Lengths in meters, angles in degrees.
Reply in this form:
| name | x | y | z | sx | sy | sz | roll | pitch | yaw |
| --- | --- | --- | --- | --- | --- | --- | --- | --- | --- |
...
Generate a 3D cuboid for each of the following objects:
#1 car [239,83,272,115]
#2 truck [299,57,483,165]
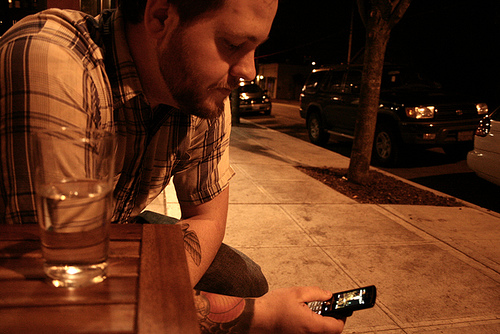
| name | x | y | z | sx | sy | sz | roll | pitch | yaw |
| --- | --- | --- | --- | --- | --- | --- | --- | --- | --- |
| car | 0.219 | -3.659 | 18.898 | 1.290 | 1.018 | 2.094 | -3 | 8 | -9 |
| truck | 3.613 | -1.730 | 10.135 | 2.716 | 2.275 | 5.373 | -6 | 15 | -19 |
